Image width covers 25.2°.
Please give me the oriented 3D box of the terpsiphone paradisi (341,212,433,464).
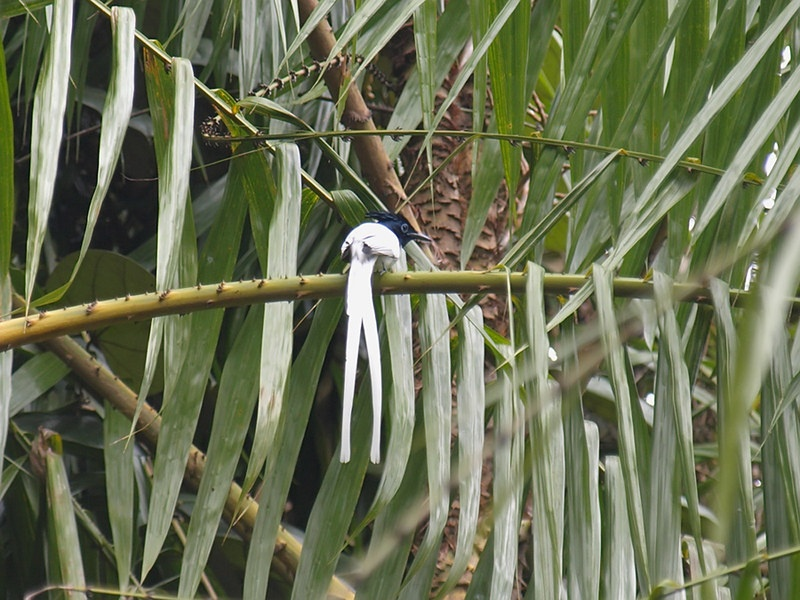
[{"bbox_3d":[-0.035,0.081,4.271,0.111,0.640,0.236,-16,-27,43],"label":"terpsiphone paradisi"}]
